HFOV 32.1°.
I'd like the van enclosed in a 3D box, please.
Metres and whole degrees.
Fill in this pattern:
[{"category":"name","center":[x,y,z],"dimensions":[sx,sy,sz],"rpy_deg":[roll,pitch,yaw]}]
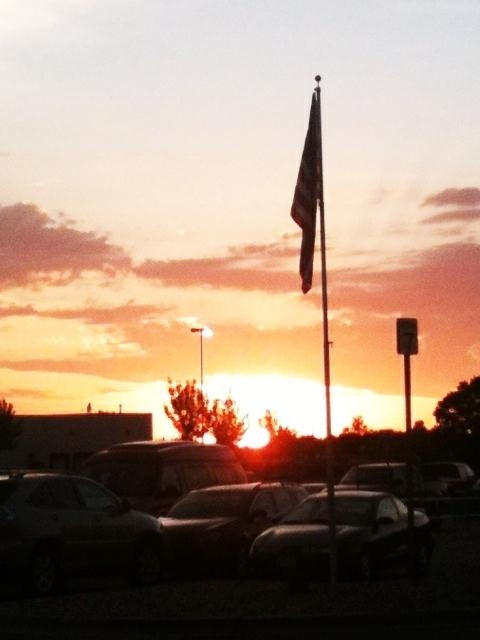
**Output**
[{"category":"van","center":[-1.326,2.955,15.980],"dimensions":[1.160,1.094,2.046],"rpy_deg":[-10,-16,31]}]

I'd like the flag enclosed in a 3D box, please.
[{"category":"flag","center":[0.803,-1.629,10.096],"dimensions":[0.346,2.273,0.817],"rpy_deg":[1,-9,3]}]
